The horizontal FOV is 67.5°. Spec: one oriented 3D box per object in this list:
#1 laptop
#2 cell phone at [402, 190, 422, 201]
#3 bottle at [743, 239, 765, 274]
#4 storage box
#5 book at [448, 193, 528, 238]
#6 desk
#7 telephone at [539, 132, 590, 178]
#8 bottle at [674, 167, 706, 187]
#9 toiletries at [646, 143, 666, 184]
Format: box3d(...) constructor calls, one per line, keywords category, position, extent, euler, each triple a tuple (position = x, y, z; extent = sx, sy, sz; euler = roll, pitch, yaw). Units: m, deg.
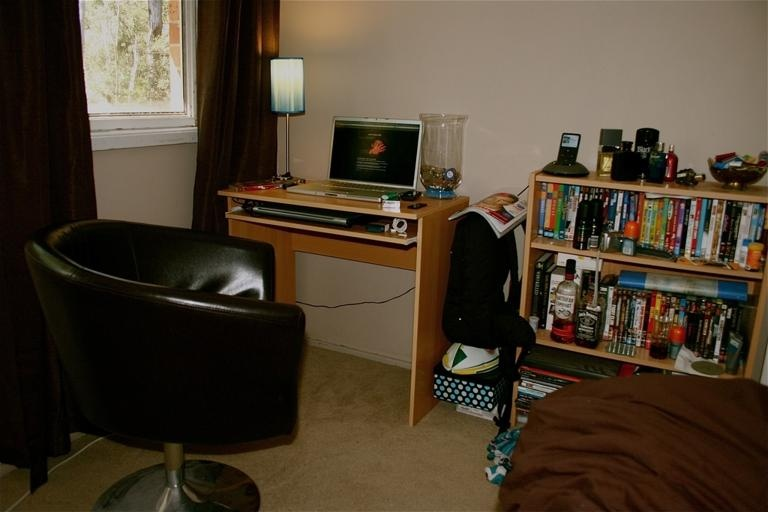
box3d(category="laptop", position=(-0.148, -0.540, 2.862), extent=(0.678, 0.412, 0.503), euler=(10, 20, 24))
box3d(category="cell phone", position=(0.133, -0.298, 2.892), extent=(0.076, 0.031, 0.061), euler=(0, 15, 23))
box3d(category="bottle", position=(1.578, 0.000, 2.432), extent=(0.066, 0.113, 0.058), euler=(10, 17, 25))
box3d(category="storage box", position=(0.418, 0.667, 2.874), extent=(0.276, 0.160, 0.273), euler=(9, 6, 20))
box3d(category="book", position=(0.577, -0.224, 2.766), extent=(0.238, 0.078, 0.292), euler=(20, 28, 28))
box3d(category="desk", position=(-0.162, 0.201, 2.797), extent=(1.139, 0.954, 0.596), euler=(9, 19, 28))
box3d(category="telephone", position=(0.856, -0.472, 2.675), extent=(0.204, 0.187, 0.188), euler=(14, 22, 24))
box3d(category="bottle", position=(1.371, -0.360, 2.567), extent=(0.113, 0.041, 0.085), euler=(10, 33, 35))
box3d(category="toiletries", position=(1.223, -0.415, 2.571), extent=(0.081, 0.168, 0.097), euler=(11, 18, 28))
